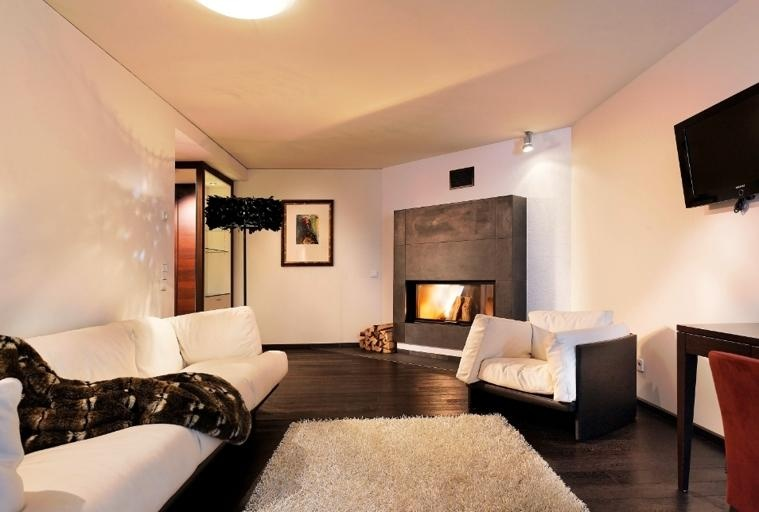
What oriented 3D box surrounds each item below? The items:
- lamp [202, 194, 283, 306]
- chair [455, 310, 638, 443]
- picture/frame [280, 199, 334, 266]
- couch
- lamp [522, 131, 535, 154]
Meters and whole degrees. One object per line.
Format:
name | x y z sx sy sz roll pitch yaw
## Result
lamp | -1.602 -0.341 5.831 0.628 0.952 0.629 1 -2 -34
chair | 1.560 1.019 4.737 1.168 1.071 1.208 2 -3 -35
picture/frame | -1.105 -0.331 7.765 0.960 1.258 0.056 0 -5 -2
couch | -1.665 0.997 3.700 1.291 0.891 2.314 0 5 5
lamp | 1.866 -1.436 6.281 0.137 0.256 0.356 1 6 15
